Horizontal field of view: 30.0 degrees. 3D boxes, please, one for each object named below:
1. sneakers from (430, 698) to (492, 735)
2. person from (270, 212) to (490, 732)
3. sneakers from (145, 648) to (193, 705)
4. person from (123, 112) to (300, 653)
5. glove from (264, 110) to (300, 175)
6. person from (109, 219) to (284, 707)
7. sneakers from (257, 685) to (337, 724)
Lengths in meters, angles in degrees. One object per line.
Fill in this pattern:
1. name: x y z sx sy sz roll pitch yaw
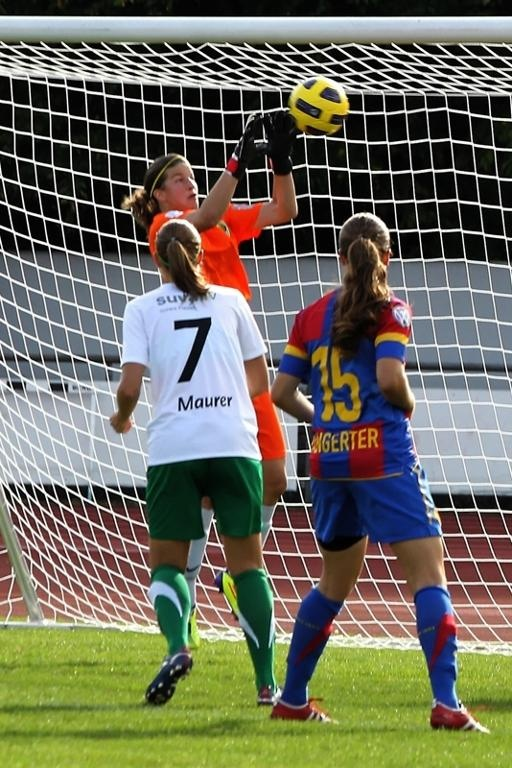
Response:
1. sneakers: 0.562 0.875 2.538 0.183 0.076 0.061 8 -5 -6
2. person: 0.341 0.213 2.785 0.737 1.478 0.409 0 1 32
3. sneakers: -0.247 0.831 2.719 0.147 0.172 0.077 0 1 34
4. person: -0.157 -0.005 3.995 0.902 2.052 0.606 4 12 42
5. glove: 0.109 -0.973 3.839 0.114 0.243 0.066 -3 11 -29
6. person: -0.174 0.238 2.920 0.525 1.532 0.510 -1 1 -9
7. sneakers: 0.130 0.931 2.744 0.176 0.063 0.095 -1 0 -5
